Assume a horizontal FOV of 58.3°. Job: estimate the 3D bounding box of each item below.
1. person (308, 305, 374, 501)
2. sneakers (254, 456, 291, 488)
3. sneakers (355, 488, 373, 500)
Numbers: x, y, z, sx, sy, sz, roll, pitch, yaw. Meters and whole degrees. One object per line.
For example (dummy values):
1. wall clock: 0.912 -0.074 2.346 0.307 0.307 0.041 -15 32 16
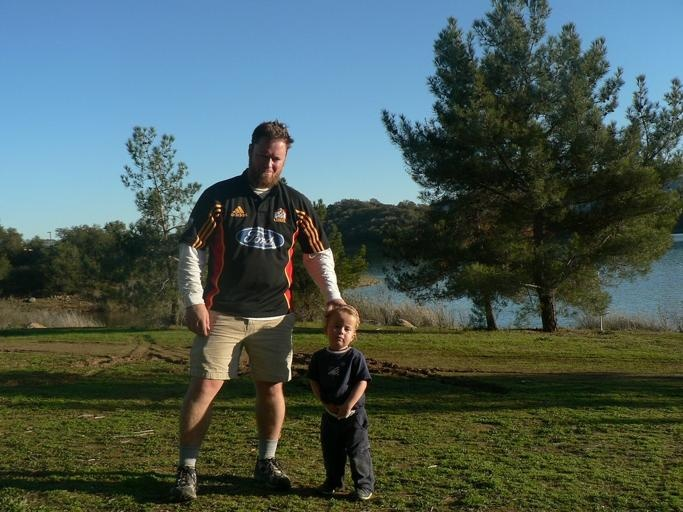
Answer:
1. person: -0.004 1.260 5.345 0.586 1.618 0.477 1 1 -5
2. sneakers: -0.630 1.935 5.455 0.192 0.206 0.497 4 0 -39
3. sneakers: 0.179 2.026 5.146 0.062 0.066 0.156 -3 -19 26
